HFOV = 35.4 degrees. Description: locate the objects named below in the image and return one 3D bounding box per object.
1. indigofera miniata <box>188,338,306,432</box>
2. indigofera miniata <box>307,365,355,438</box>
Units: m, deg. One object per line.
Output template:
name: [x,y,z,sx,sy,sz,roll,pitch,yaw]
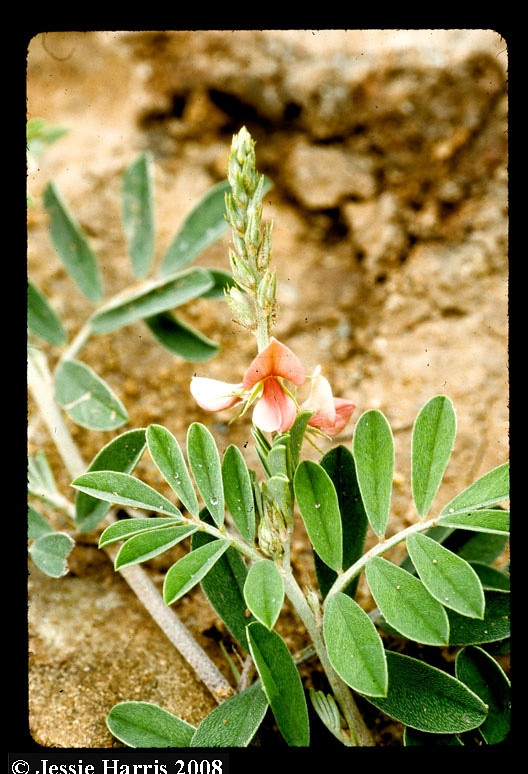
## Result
indigofera miniata: [0.004,-0.004,1.275,0.193,0.120,0.195,-2,-3,-8]
indigofera miniata: [0.098,0.027,1.270,0.097,0.097,0.041,12,30,33]
